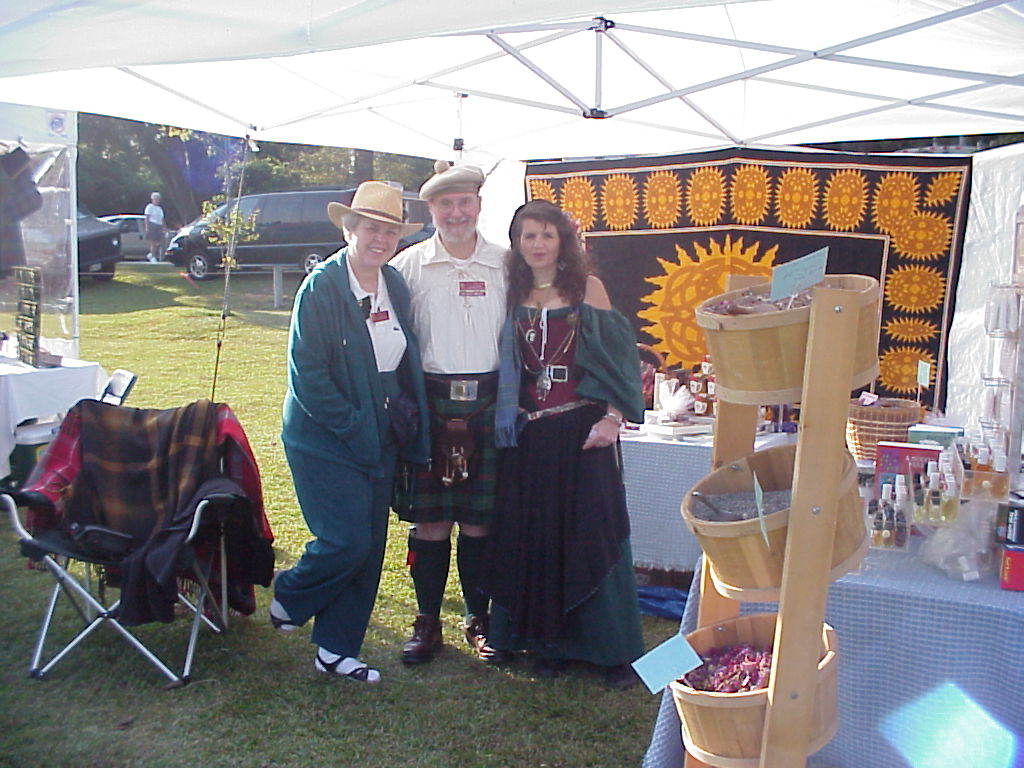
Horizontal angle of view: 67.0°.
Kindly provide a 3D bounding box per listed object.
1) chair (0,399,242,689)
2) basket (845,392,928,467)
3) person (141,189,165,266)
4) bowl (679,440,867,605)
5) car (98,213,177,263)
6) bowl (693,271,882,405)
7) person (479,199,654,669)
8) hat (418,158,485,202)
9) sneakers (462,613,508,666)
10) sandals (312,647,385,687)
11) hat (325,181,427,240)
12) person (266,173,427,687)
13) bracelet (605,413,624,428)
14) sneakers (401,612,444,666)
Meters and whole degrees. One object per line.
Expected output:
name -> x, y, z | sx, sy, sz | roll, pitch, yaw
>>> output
chair -> -1.777, 0.719, 3.713 | 1.113, 1.212, 0.734 | 2, 13, 3
basket -> 1.634, 0.205, 3.415 | 0.306, 0.257, 0.293 | 2, 4, 30
person -> -7.311, -3.083, 15.743 | 0.379, 1.331, 1.662 | -5, 14, -25
bowl -> 0.745, 0.374, 2.223 | 0.507, 0.396, 0.432 | 4, 13, 13
car -> -7.447, -3.082, 16.078 | 1.850, 1.009, 1.067 | -1, 12, -15
bowl -> 0.780, -0.157, 2.215 | 0.480, 0.338, 0.536 | -11, 19, 0
person -> 0.238, 0.273, 3.647 | 0.726, 2.198, 0.560 | 0, 12, -3
hat -> -0.292, -0.973, 3.707 | 0.285, 0.194, 0.299 | 0, 13, -7
sneakers -> -0.157, 1.267, 3.853 | 0.110, 0.128, 0.305 | -3, -1, -31
sandals -> -0.781, 1.311, 3.660 | 0.339, 0.152, 0.129 | 3, 8, 11
hat -> -0.664, -0.800, 3.625 | 0.290, 0.142, 0.330 | 11, -4, -20
person -> -0.763, 0.231, 3.528 | 0.725, 2.233, 0.489 | -4, 13, -21
bracelet -> 0.466, 0.172, 3.605 | 0.054, 0.028, 0.074 | 20, -2, 19
sneakers -> -0.445, 1.255, 3.788 | 0.102, 0.150, 0.300 | -2, -3, 10
